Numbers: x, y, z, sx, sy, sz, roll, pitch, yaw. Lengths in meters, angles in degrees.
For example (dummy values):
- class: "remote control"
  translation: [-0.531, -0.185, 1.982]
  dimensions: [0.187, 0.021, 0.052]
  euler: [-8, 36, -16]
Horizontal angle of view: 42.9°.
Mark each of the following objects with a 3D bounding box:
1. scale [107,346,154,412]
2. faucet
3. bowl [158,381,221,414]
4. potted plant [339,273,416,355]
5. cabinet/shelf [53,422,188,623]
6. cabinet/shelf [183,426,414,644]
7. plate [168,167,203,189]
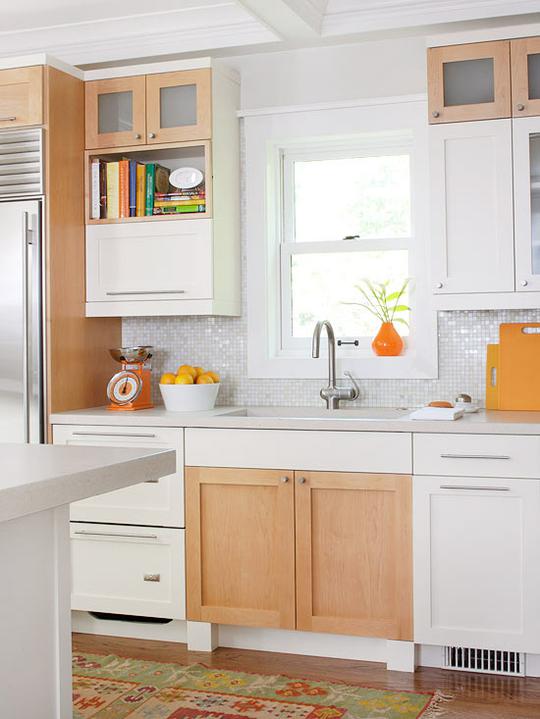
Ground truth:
- class: "scale"
  translation: [-0.594, 0.080, 2.900]
  dimensions: [0.189, 0.247, 0.205]
  euler: [-1, 2, 42]
- class: "faucet"
  translation: [0.277, 0.022, 2.802]
  dimensions: [0.178, 0.363, 0.541]
  euler: [-1, 3, 7]
- class: "bowl"
  translation: [-0.324, 0.151, 2.759]
  dimensions: [0.230, 0.112, 0.111]
  euler: [-2, 3, -6]
- class: "potted plant"
  translation: [0.492, -0.181, 2.961]
  dimensions: [0.288, 0.317, 0.339]
  euler: [1, -3, -44]
- class: "cabinet/shelf"
  translation: [-0.482, 0.616, 2.800]
  dimensions: [0.643, 0.769, 0.577]
  euler: [-2, -1, 15]
- class: "cabinet/shelf"
  translation: [0.150, 0.603, 2.489]
  dimensions: [0.856, 0.680, 0.312]
  euler: [-4, -10, 26]
- class: "plate"
  translation: [-0.342, -0.739, 2.814]
  dimensions: [0.158, 0.101, 0.053]
  euler: [1, 4, 32]
